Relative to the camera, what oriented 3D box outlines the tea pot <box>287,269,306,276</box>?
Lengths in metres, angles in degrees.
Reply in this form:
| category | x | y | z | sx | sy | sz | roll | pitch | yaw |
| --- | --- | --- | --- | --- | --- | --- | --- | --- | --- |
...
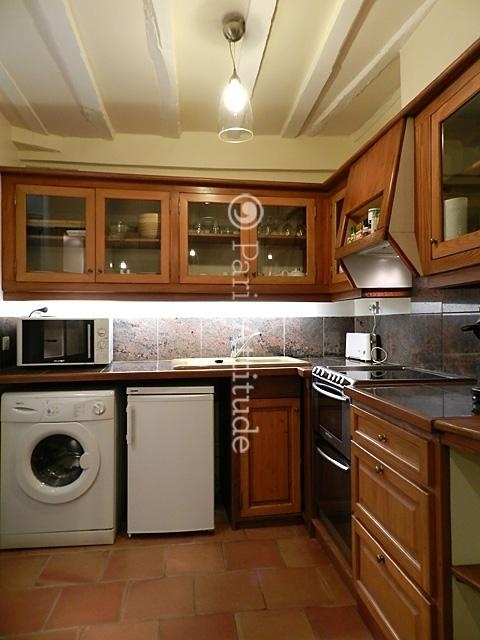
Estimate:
| category | x | y | z | sx | sy | sz | roll | pitch | yaw |
| --- | --- | --- | --- | --- | --- | --- | --- | --- | --- |
| tea pot | 0.352 | -0.301 | 3.038 | 0.059 | 0.041 | 0.061 | 0 | -7 | 0 |

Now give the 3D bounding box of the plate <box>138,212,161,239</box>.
| category | x | y | z | sx | sy | sz | roll | pitch | yaw |
| --- | --- | --- | --- | --- | --- | --- | --- | --- | --- |
| plate | -0.547 | -0.552 | 2.908 | 0.133 | 0.150 | 0.136 | 2 | -7 | -24 |

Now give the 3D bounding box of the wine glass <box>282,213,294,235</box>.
| category | x | y | z | sx | sy | sz | roll | pitch | yaw |
| --- | --- | --- | --- | --- | --- | --- | --- | --- | --- |
| wine glass | 0.303 | -0.608 | 3.026 | 0.075 | 0.121 | 0.027 | -2 | 3 | -13 |

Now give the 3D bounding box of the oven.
| category | x | y | z | sx | sy | sz | roll | pitch | yaw |
| --- | --- | --- | --- | --- | --- | --- | --- | --- | --- |
| oven | 0.668 | 0.662 | 2.353 | 0.587 | 0.892 | 0.551 | -6 | 8 | -28 |

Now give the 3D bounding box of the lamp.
| category | x | y | z | sx | sy | sz | roll | pitch | yaw |
| --- | --- | --- | --- | --- | --- | --- | --- | --- | --- |
| lamp | -0.025 | -0.954 | 1.889 | 0.084 | 0.384 | 0.091 | 4 | 25 | 12 |

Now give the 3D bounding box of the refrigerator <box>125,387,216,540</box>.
| category | x | y | z | sx | sy | sz | roll | pitch | yaw |
| --- | --- | --- | --- | --- | --- | --- | --- | --- | --- |
| refrigerator | -0.352 | 0.755 | 2.684 | 0.545 | 0.986 | 0.674 | 0 | -3 | -4 |
